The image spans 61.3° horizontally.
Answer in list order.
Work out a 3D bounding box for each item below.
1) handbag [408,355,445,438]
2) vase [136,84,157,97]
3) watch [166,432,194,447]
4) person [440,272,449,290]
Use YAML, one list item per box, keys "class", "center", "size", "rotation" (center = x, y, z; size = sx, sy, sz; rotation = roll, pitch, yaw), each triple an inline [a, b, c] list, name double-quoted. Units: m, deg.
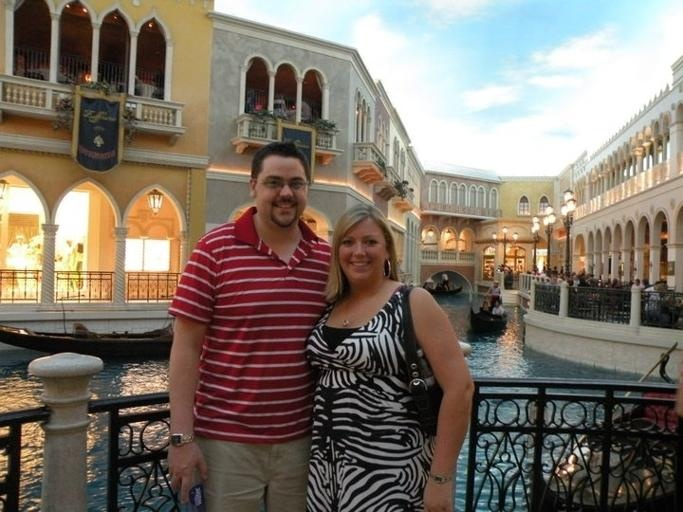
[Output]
- class: "handbag"
  center: [0.463, 0.775, 3.169]
  size: [0.198, 0.448, 0.090]
  rotation: [4, 1, -1]
- class: "vase"
  center: [-5.403, -4.510, 15.864]
  size: [0.481, 0.369, 0.842]
  rotation: [4, 1, -23]
- class: "watch"
  center: [-0.875, 0.993, 3.126]
  size: [0.103, 0.066, 0.104]
  rotation: [0, -9, 2]
- class: "person"
  center: [7.732, 1.852, 42.616]
  size: [0.849, 0.914, 2.711]
  rotation: [-4, -12, 8]
